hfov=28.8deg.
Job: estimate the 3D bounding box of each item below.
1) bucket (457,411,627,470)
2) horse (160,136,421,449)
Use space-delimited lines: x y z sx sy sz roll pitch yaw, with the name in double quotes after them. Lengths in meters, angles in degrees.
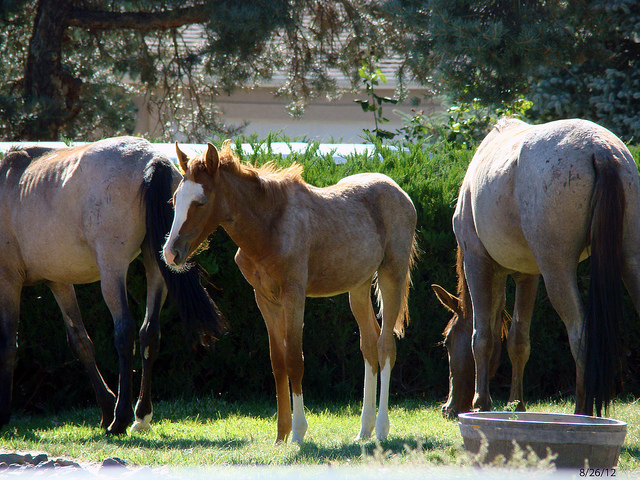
2.506 2.271 13.984 1.778 0.525 0.399 2 12 12 "bucket"
-0.471 0.838 16.292 3.277 3.636 1.034 -1 -1 -37 "horse"
